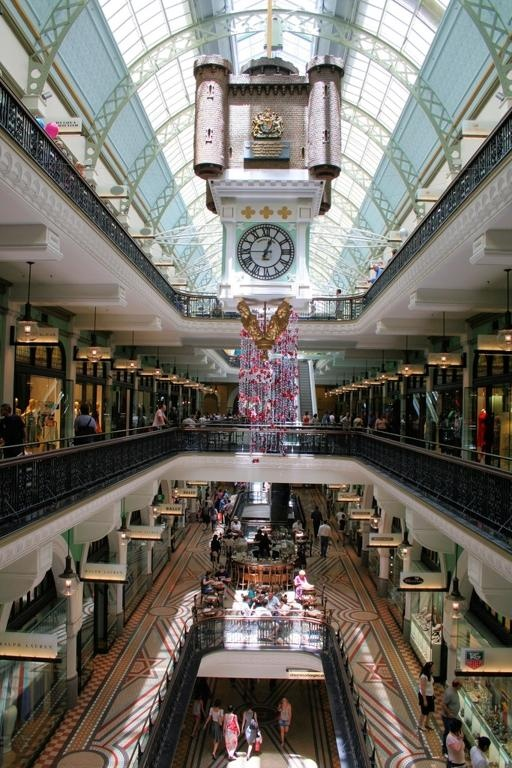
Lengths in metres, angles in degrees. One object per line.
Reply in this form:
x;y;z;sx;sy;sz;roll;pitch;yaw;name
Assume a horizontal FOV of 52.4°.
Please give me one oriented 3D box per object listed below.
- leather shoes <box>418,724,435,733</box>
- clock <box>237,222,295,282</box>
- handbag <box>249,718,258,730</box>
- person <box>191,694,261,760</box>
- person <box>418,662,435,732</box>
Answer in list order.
3.223;6.580;9.949;0.122;0.143;0.370;2;-33;2;leather shoes
0.130;-1.887;7.553;0.733;0.812;0.054;2;-3;-1;clock
-0.066;7.380;11.233;0.222;0.279;0.155;1;2;0;handbag
-0.735;7.759;11.699;1.406;1.646;0.601;2;9;8;person
3.334;6.109;10.337;0.293;1.107;0.924;-3;-3;17;person
